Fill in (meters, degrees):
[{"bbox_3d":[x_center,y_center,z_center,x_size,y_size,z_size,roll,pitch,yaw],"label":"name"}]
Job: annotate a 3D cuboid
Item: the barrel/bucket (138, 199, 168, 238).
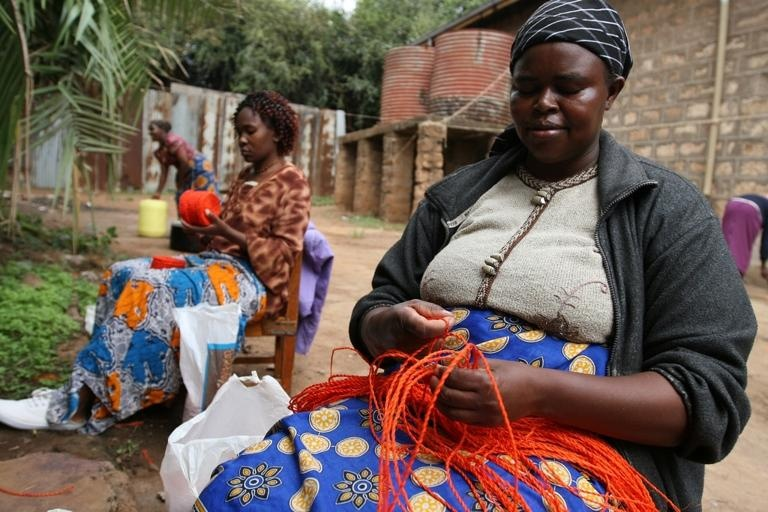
[{"bbox_3d":[-3.114,-0.510,9.130,0.468,0.551,0.483,1,-1,0],"label":"barrel/bucket"}]
